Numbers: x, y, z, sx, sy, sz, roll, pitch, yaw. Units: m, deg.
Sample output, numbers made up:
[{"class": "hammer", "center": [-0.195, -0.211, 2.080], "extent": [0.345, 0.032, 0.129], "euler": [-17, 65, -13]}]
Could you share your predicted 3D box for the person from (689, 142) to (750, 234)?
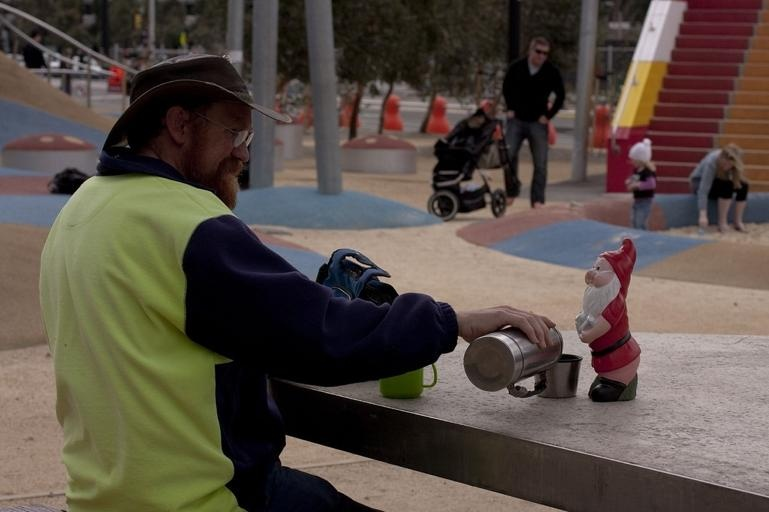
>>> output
[{"class": "person", "center": [3.813, -0.714, 10.043], "extent": [0.786, 0.986, 0.683], "euler": [-28, 33, -32]}]

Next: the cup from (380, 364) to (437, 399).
[{"class": "cup", "center": [0.086, 0.365, 2.661], "extent": [0.161, 0.111, 0.100], "euler": [-2, -2, -28]}]

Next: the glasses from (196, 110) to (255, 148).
[{"class": "glasses", "center": [-0.423, -0.328, 2.343], "extent": [0.115, 0.035, 0.087], "euler": [30, 11, 13]}]

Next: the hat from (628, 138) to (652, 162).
[{"class": "hat", "center": [2.515, -1.028, 8.685], "extent": [0.192, 0.218, 0.336], "euler": [5, 8, 12]}]

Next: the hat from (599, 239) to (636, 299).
[{"class": "hat", "center": [0.707, 0.036, 2.694], "extent": [0.105, 0.190, 0.262], "euler": [5, 8, 15]}]

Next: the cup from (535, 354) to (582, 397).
[{"class": "cup", "center": [0.524, 0.361, 2.659], "extent": [0.132, 0.097, 0.124], "euler": [0, 7, 0]}]

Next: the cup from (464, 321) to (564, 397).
[{"class": "cup", "center": [0.370, 0.279, 2.495], "extent": [0.223, 0.178, 0.301], "euler": [1, 3, 37]}]

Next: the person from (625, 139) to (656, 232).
[{"class": "person", "center": [2.737, -0.716, 9.450], "extent": [0.374, 0.480, 1.246], "euler": [-4, -34, 8]}]

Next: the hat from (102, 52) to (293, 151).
[{"class": "hat", "center": [-0.477, -0.421, 2.396], "extent": [0.490, 0.200, 0.396], "euler": [-9, -4, 23]}]
